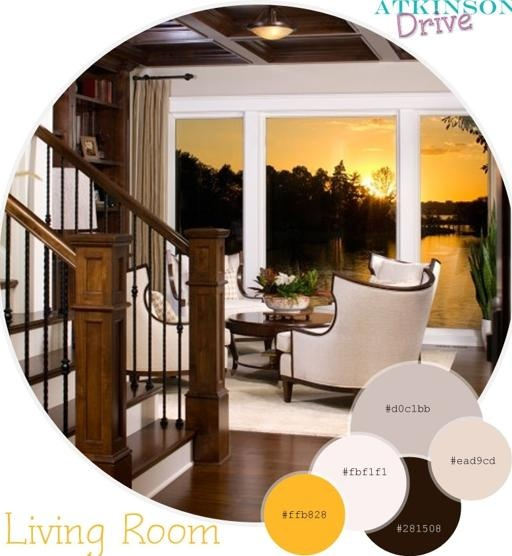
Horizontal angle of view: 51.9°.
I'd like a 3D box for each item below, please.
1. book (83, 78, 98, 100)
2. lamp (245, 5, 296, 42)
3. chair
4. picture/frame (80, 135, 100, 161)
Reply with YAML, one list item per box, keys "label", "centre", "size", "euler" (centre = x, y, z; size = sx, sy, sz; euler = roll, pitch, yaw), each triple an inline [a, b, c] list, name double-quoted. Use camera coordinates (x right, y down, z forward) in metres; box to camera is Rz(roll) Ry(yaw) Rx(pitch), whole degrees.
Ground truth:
- label: "book"
  centre: [-2.074, -2.371, 6.493]
  size: [0.233, 0.272, 0.146]
  euler: [1, 0, -18]
- label: "lamp"
  centre: [0.143, -2.226, 4.741]
  size: [0.317, 0.222, 0.357]
  euler: [-1, 5, 3]
- label: "chair"
  centre: [0.491, 0.358, 4.230]
  size: [1.715, 1.018, 1.280]
  euler: [3, 3, 30]
- label: "picture/frame"
  centre: [-1.979, -1.549, 6.322]
  size: [0.113, 0.288, 0.409]
  euler: [1, 0, 8]
